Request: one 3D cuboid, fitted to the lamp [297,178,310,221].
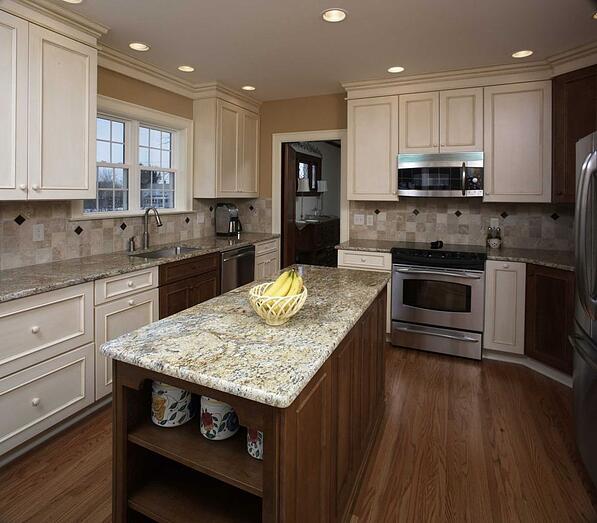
[{"bbox_3d":[0.026,-0.737,5.354,0.137,0.461,0.091,-1,14,-7],"label":"lamp"}]

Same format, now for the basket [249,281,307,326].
[{"bbox_3d":[-0.114,0.190,1.991,0.184,0.112,0.191,5,9,17],"label":"basket"}]

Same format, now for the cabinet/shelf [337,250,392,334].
[{"bbox_3d":[0.635,0.242,4.353,0.605,0.754,0.200,12,18,37],"label":"cabinet/shelf"}]

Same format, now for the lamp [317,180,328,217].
[{"bbox_3d":[0.250,-0.749,5.368,0.111,0.400,0.105,0,14,-1],"label":"lamp"}]

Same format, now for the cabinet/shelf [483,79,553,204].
[{"bbox_3d":[1.877,-1.007,3.894,0.608,0.980,0.174,7,15,22],"label":"cabinet/shelf"}]

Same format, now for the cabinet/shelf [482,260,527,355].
[{"bbox_3d":[1.724,0.362,3.787,0.362,0.750,0.106,7,15,23],"label":"cabinet/shelf"}]

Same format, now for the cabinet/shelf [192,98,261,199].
[{"bbox_3d":[-0.830,-1.185,4.762,0.374,1.296,1.089,0,1,19],"label":"cabinet/shelf"}]

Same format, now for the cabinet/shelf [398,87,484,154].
[{"bbox_3d":[1.282,-1.259,4.126,0.749,0.547,0.176,5,15,14],"label":"cabinet/shelf"}]

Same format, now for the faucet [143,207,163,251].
[{"bbox_3d":[-1.375,-0.323,4.121,0.174,0.372,0.404,-4,16,-17],"label":"faucet"}]

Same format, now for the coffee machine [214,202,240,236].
[{"bbox_3d":[-0.859,-0.459,5.051,0.299,0.469,0.324,0,2,15],"label":"coffee machine"}]

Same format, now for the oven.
[{"bbox_3d":[1.311,0.275,4.222,0.861,0.969,0.731,1,25,18],"label":"oven"}]

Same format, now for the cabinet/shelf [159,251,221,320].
[{"bbox_3d":[-0.945,0.169,3.783,0.378,0.507,0.676,2,6,21],"label":"cabinet/shelf"}]

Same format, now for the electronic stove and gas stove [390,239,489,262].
[{"bbox_3d":[1.287,-0.110,4.214,0.849,0.144,0.605,7,17,21],"label":"electronic stove and gas stove"}]

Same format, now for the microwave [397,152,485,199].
[{"bbox_3d":[1.274,-0.780,4.108,0.767,0.395,0.208,4,15,12],"label":"microwave"}]
